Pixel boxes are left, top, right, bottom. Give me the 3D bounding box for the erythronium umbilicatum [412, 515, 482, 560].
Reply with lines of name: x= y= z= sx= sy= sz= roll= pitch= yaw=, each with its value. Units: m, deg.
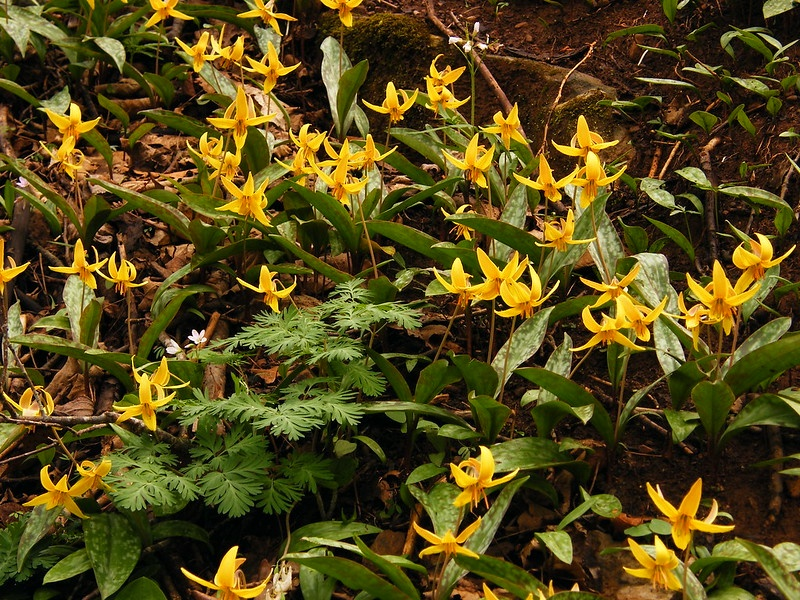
erythronium umbilicatum: x=0.197 y=0.960 z=3.176 sx=0.235 sy=0.251 sz=0.142 roll=0 pitch=91 yaw=21
